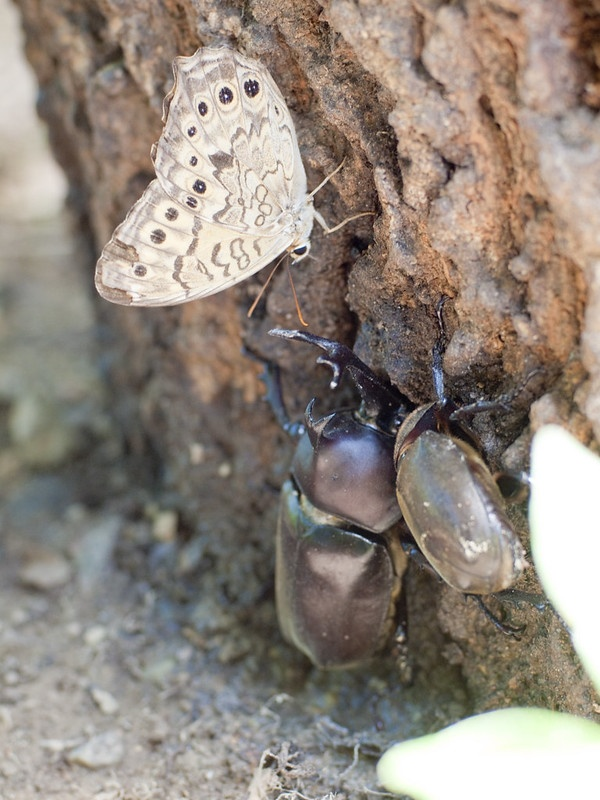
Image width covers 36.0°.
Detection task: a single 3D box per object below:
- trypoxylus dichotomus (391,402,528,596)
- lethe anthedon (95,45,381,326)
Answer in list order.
[{"bbox_3d":[0.307,0.206,1.889,0.192,0.237,0.417,-13,82,-4],"label":"trypoxylus dichotomus"},{"bbox_3d":[-0.145,-0.407,1.894,0.393,0.322,0.491,23,81,1],"label":"lethe anthedon"}]
